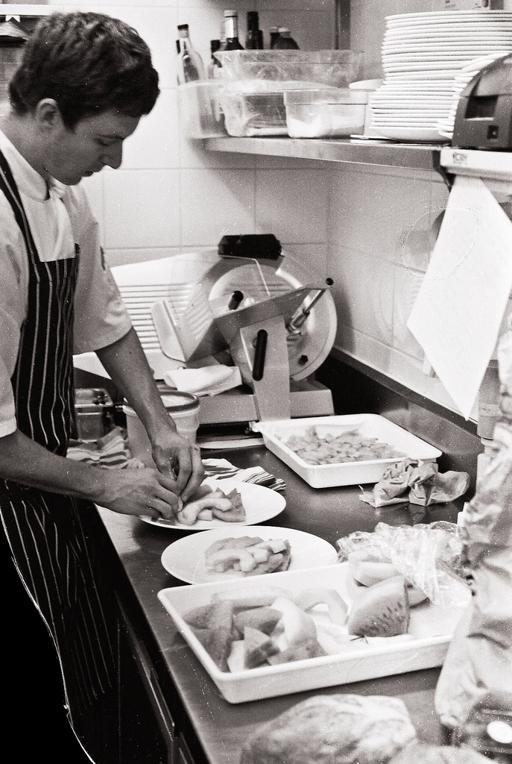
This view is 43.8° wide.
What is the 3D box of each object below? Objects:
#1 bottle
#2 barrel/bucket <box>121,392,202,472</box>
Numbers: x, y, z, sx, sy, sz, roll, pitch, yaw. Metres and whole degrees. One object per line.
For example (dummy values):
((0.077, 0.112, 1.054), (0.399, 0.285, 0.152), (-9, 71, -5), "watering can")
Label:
((-0.054, -0.867, 1.857), (0.322, 0.478, 0.478), (-3, 32, -6), "bottle")
((-0.217, 0.091, 1.469), (0.158, 0.157, 0.161), (2, 21, -1), "barrel/bucket")
